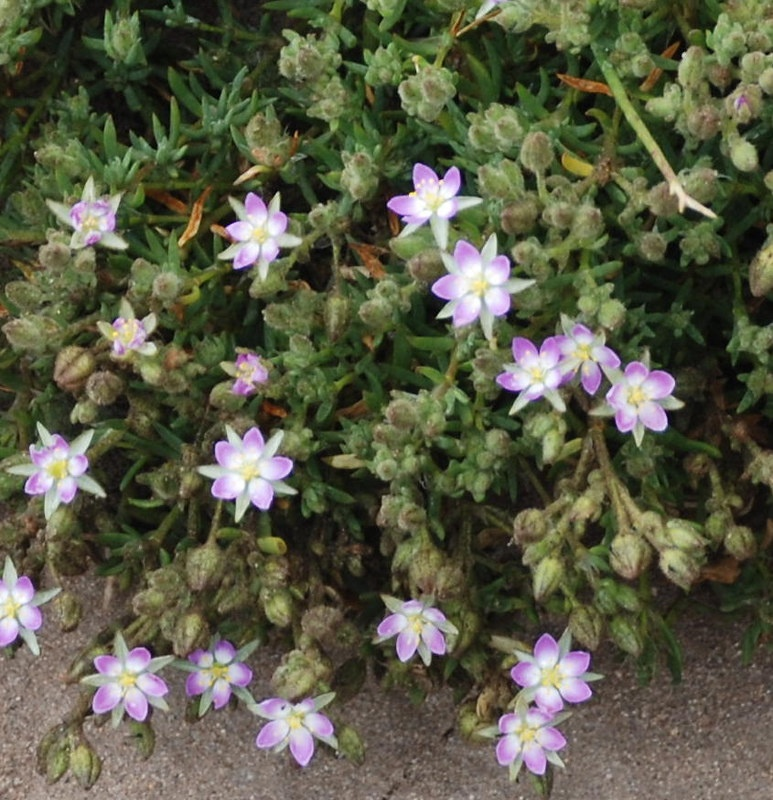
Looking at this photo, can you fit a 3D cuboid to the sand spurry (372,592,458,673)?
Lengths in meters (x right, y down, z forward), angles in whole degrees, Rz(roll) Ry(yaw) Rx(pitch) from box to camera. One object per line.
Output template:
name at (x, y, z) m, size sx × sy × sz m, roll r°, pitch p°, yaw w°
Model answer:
sand spurry at (0.063, 0.423, 1.724) m, size 0.179 × 0.131 × 0.069 m, roll 23°, pitch 23°, yaw 0°

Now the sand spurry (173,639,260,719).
sand spurry at (-0.338, 0.527, 1.780) m, size 0.082 × 0.167 × 0.155 m, roll 42°, pitch 86°, yaw -6°

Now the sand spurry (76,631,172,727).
sand spurry at (-0.488, 0.511, 1.687) m, size 0.194 × 0.173 × 0.049 m, roll -6°, pitch 106°, yaw -5°

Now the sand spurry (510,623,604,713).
sand spurry at (0.303, 0.509, 1.673) m, size 0.135 × 0.143 × 0.117 m, roll -22°, pitch 59°, yaw -17°

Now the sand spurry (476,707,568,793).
sand spurry at (0.263, 0.664, 1.757) m, size 0.193 × 0.079 × 0.183 m, roll -3°, pitch 100°, yaw -7°

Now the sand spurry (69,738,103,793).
sand spurry at (-0.566, 0.676, 1.704) m, size 0.073 × 0.034 × 0.090 m, roll -10°, pitch 90°, yaw -13°
